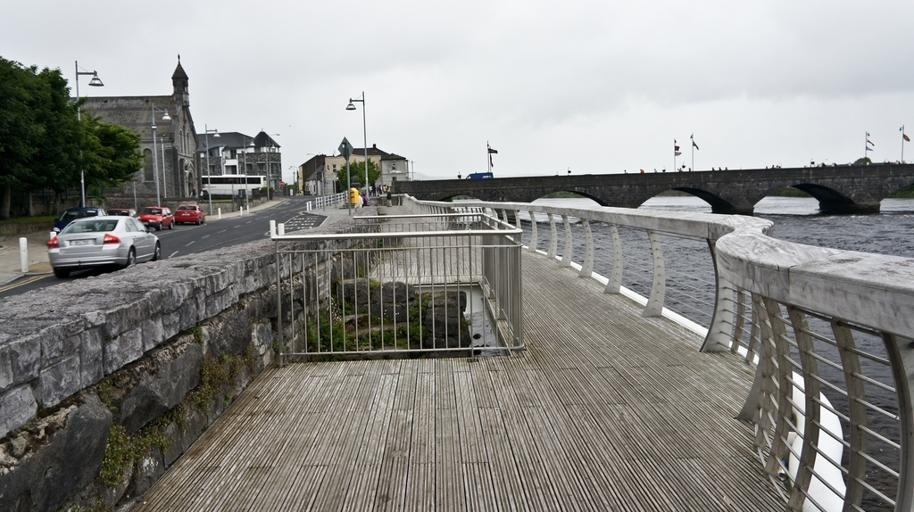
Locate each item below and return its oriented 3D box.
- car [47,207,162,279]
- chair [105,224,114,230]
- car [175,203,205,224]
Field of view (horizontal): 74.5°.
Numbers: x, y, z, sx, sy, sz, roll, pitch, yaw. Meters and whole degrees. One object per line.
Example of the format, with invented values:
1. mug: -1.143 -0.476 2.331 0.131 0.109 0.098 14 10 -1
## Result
1. car: -11.519 -0.356 19.492 2.866 1.815 2.085 -13 18 -41
2. chair: -11.092 -0.919 19.081 0.209 0.113 0.189 -6 27 -16
3. car: -23.542 -3.724 53.150 1.351 1.045 3.144 -1 11 -14
